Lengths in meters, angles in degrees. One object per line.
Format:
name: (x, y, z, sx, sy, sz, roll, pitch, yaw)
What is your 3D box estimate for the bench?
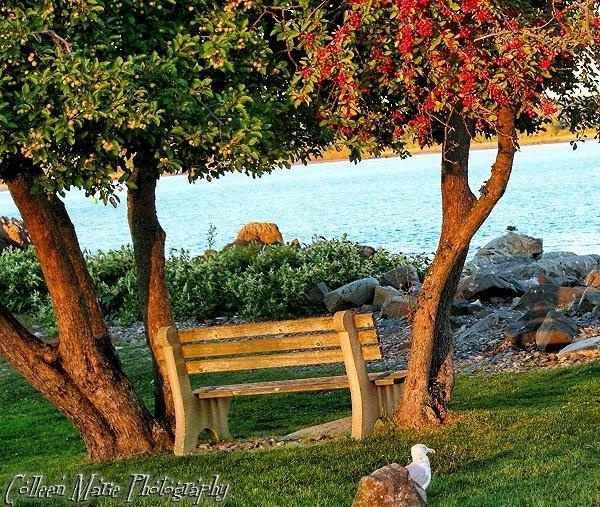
bench: (-0.174, 1.360, 11.924, 2.370, 1.361, 1.234, -7, -5, 23)
